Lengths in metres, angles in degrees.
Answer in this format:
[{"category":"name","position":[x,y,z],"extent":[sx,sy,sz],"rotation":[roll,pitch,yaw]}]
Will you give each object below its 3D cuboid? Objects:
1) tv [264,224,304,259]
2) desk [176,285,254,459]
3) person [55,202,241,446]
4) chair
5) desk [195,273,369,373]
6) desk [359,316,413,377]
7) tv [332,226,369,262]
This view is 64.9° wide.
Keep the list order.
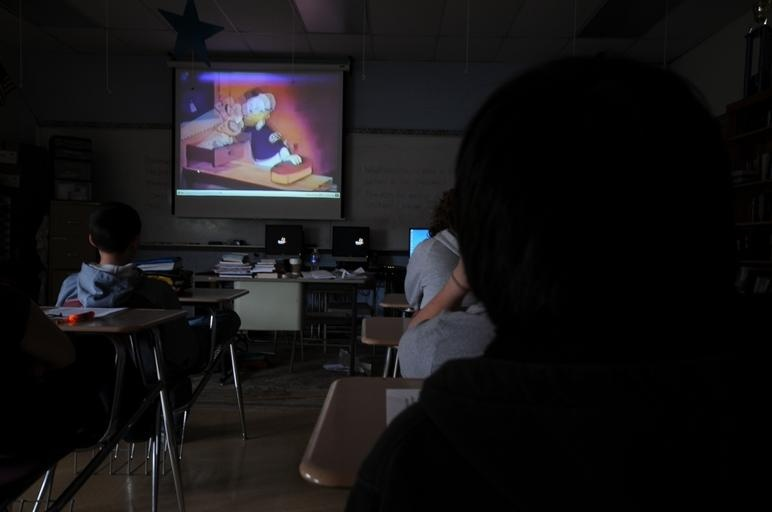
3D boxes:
[{"category":"tv","position":[-1.108,-0.169,6.833],"extent":[0.463,0.383,0.251],"rotation":[1,1,14]},{"category":"desk","position":[-1.257,0.685,4.323],"extent":[0.500,0.675,0.515],"rotation":[7,-8,-22]},{"category":"person","position":[-1.542,0.520,3.955],"extent":[1.070,1.668,1.193],"rotation":[6,7,34]},{"category":"chair","position":[-1.314,0.679,3.326],"extent":[0.881,0.965,0.687],"rotation":[1,2,3]},{"category":"desk","position":[-0.884,0.810,5.713],"extent":[1.528,0.735,0.808],"rotation":[0,-2,1]},{"category":"desk","position":[-0.015,0.526,3.582],"extent":[0.374,0.499,0.356],"rotation":[1,-8,-4]},{"category":"tv","position":[-0.409,-0.149,6.779],"extent":[0.416,0.360,0.152],"rotation":[1,5,-17]}]
